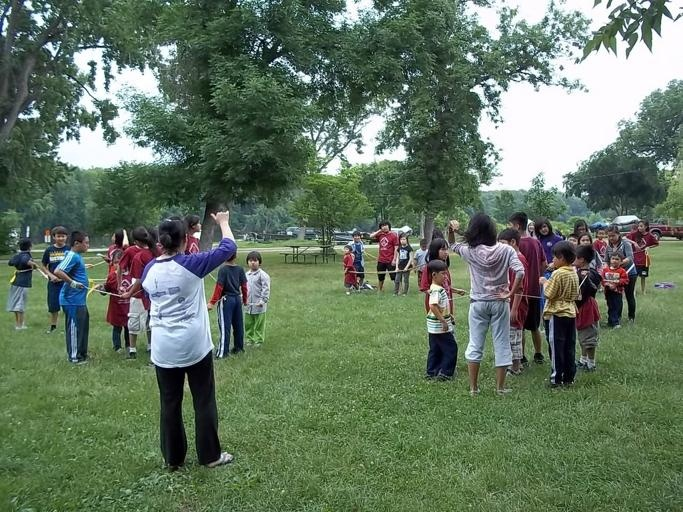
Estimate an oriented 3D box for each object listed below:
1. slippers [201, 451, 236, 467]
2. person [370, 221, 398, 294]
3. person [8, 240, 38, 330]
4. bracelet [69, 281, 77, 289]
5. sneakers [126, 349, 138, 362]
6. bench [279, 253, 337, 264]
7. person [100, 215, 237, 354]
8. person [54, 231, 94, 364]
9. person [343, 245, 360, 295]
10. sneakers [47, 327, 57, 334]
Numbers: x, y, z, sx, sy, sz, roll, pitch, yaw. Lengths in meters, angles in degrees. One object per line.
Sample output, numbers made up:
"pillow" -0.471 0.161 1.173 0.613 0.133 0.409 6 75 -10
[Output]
"slippers" -1.601 2.694 8.925 0.270 0.118 0.153 -18 23 -27
"person" 1.310 0.004 19.859 0.747 1.404 2.386 1 -1 4
"person" -7.127 0.599 15.077 0.551 2.036 1.181 2 -1 -27
"bracelet" -4.712 0.499 11.864 0.123 0.169 0.358 0 -2 -27
"sneakers" -3.799 1.798 12.277 0.246 0.176 0.096 2 0 21
"bench" -1.551 0.130 34.427 1.891 0.459 6.109 1 -2 3
"person" -2.014 0.750 8.698 1.122 2.659 0.546 2 -1 -12
"person" -4.823 0.731 12.128 0.558 2.266 0.687 2 -1 -22
"person" 0.304 0.385 19.538 0.395 1.021 0.729 1 -1 5
"sneakers" -6.268 1.595 14.647 0.255 0.183 0.098 4 -5 -15
